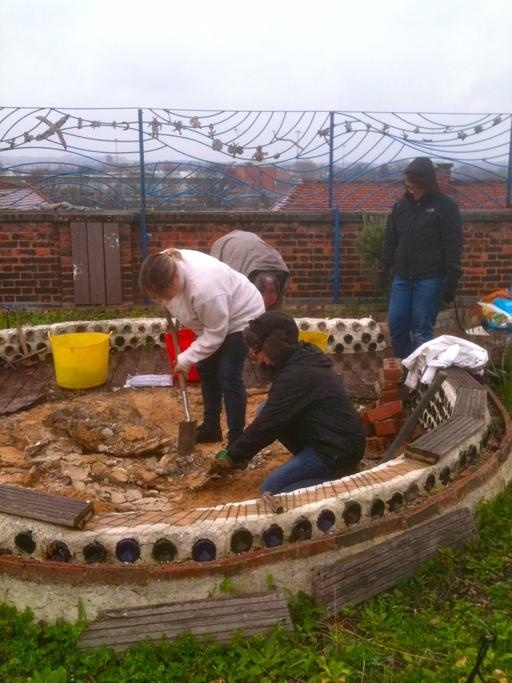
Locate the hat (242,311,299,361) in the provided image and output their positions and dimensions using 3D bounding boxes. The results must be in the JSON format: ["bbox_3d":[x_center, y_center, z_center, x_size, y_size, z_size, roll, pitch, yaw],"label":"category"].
[{"bbox_3d":[0.088,-0.035,3.134,0.311,0.243,0.222,4,-1,6],"label":"hat"}]

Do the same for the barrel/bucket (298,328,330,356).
[{"bbox_3d":[0.554,-0.025,5.624,0.381,0.226,0.216,1,2,2],"label":"barrel/bucket"}]

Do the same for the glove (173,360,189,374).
[{"bbox_3d":[-0.509,0.178,4.070,0.103,0.042,0.129,15,0,-24],"label":"glove"}]

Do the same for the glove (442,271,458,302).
[{"bbox_3d":[1.645,-0.465,5.105,0.084,0.205,0.161,15,5,10],"label":"glove"}]

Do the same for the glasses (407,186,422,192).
[{"bbox_3d":[1.354,-1.306,5.135,0.078,0.034,0.093,4,0,4],"label":"glasses"}]

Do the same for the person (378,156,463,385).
[{"bbox_3d":[1.447,-0.711,5.361,0.507,1.721,0.797,-5,10,-15],"label":"person"}]

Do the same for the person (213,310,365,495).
[{"bbox_3d":[0.192,0.334,3.262,0.727,1.003,0.386,-5,10,-13],"label":"person"}]

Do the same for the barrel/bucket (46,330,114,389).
[{"bbox_3d":[-1.543,0.143,5.490,0.610,0.511,0.539,0,5,4],"label":"barrel/bucket"}]
